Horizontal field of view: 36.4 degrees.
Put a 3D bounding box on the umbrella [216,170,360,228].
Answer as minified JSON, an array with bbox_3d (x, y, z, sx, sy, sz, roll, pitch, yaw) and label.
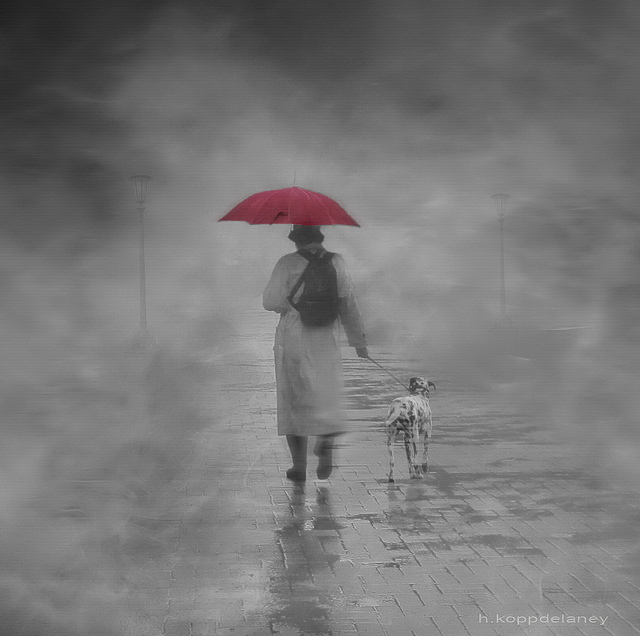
[{"bbox_3d":[-0.255,-0.908,7.964,1.044,0.331,0.444,1,5,21],"label":"umbrella"}]

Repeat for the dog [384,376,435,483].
[{"bbox_3d":[0.732,0.924,7.967,0.350,0.884,0.802,0,5,7],"label":"dog"}]

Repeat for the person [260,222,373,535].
[{"bbox_3d":[-0.043,0.320,7.846,0.832,2.162,1.270,-1,5,-1],"label":"person"}]

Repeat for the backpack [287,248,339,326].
[{"bbox_3d":[-0.051,-0.234,7.905,0.400,0.604,0.112,-3,6,-22],"label":"backpack"}]

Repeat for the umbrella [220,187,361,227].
[{"bbox_3d":[-0.247,-0.899,7.947,1.035,0.317,0.407,1,5,19],"label":"umbrella"}]
